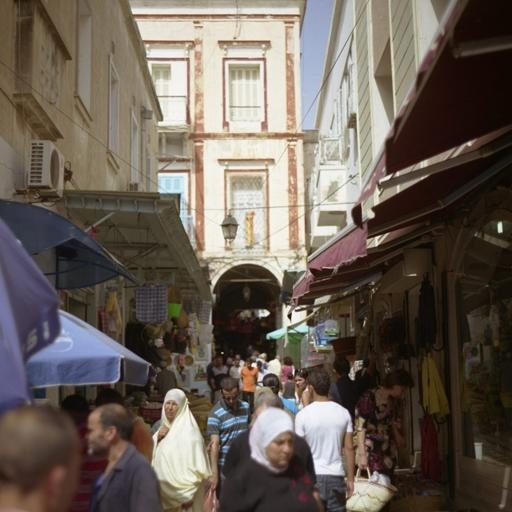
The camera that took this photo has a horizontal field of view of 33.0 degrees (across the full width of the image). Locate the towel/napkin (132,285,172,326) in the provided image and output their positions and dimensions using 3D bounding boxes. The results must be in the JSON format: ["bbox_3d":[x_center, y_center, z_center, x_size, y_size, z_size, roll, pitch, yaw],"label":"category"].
[{"bbox_3d":[-1.638,0.760,13.750,0.467,0.610,0.503,0,-1,-3],"label":"towel/napkin"}]

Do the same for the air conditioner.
[{"bbox_3d":[-2.271,-0.866,9.288,0.360,0.682,0.805,-1,-5,1],"label":"air conditioner"}]
